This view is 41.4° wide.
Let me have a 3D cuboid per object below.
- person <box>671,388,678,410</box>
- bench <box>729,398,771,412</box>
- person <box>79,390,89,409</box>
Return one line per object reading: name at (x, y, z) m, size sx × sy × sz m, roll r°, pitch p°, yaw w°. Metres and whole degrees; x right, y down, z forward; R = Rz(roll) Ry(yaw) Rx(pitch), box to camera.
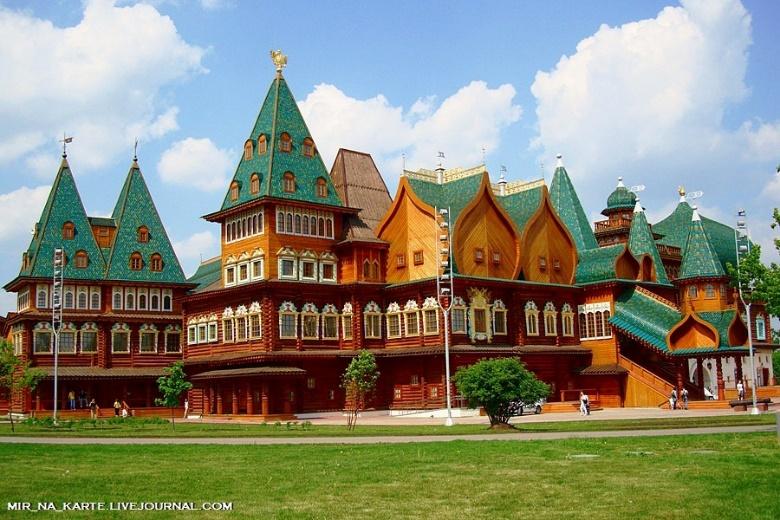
person at (19.472, 9.462, 70.604) m, size 0.487 × 1.567 × 2.305 m, roll -7°, pitch -13°, yaw 14°
bench at (23.332, 9.364, 66.839) m, size 2.483 × 0.873 × 2.147 m, roll -7°, pitch -13°, yaw 16°
person at (-24.212, 10.896, 81.675) m, size 0.826 × 1.552 × 1.762 m, roll 1°, pitch -14°, yaw -17°
